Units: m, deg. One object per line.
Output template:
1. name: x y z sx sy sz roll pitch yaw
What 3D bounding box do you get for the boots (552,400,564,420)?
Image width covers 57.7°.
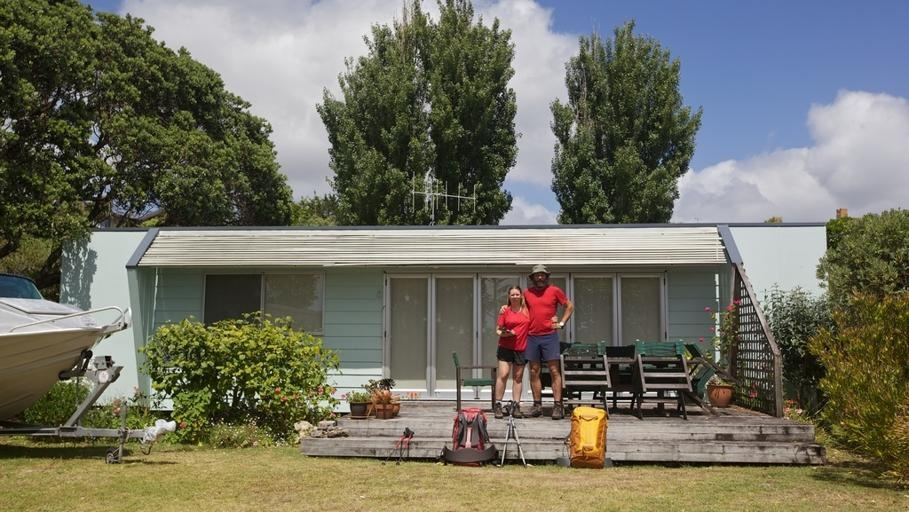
1. boots: 2.939 4.405 23.436 0.329 0.494 0.360 -1 -12 6

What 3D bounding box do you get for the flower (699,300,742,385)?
1. flower: 8.452 2.496 25.573 0.964 1.814 0.980 -7 28 42

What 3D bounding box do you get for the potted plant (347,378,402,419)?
1. potted plant: -2.327 4.148 23.937 1.398 1.145 0.607 1 -12 -5

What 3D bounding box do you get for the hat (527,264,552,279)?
1. hat: 2.444 0.424 23.779 0.437 0.199 0.563 0 -27 3

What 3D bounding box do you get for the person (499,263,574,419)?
1. person: 2.607 2.469 23.520 1.257 4.311 1.037 0 -11 1

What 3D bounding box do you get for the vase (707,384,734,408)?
1. vase: 7.998 4.212 24.683 0.664 0.510 0.666 2 -12 -2

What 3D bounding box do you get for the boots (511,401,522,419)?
1. boots: 1.772 4.424 23.590 0.238 0.445 0.663 1 -28 -2
